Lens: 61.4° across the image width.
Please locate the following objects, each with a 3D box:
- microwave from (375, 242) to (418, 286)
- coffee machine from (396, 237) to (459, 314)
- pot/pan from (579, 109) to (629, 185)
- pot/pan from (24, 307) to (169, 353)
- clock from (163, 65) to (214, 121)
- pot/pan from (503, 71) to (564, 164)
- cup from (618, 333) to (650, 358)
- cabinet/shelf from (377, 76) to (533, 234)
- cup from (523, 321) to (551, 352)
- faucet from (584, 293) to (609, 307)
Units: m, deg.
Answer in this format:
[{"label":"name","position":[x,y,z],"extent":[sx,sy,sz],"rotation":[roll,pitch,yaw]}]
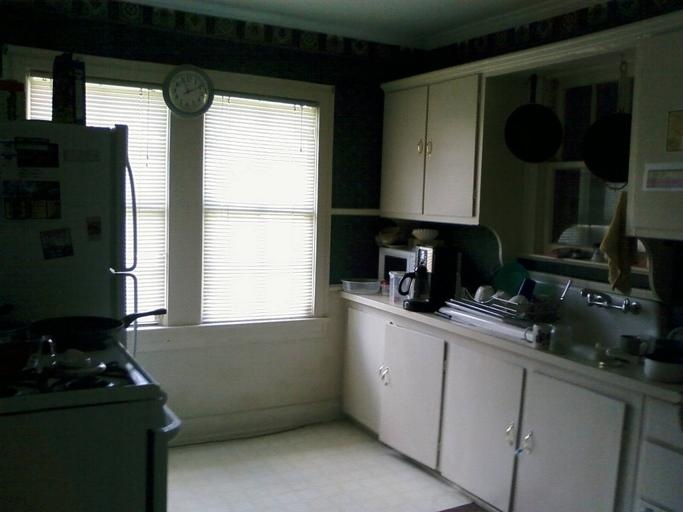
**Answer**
[{"label":"microwave","position":[0.425,0.034,4.379],"extent":[0.245,0.346,0.358],"rotation":[2,-1,-36]},{"label":"coffee machine","position":[0.599,0.155,3.846],"extent":[0.468,0.577,0.350],"rotation":[3,2,-9]},{"label":"pot/pan","position":[1.482,-0.610,3.240],"extent":[0.279,0.399,0.140],"rotation":[9,13,34]},{"label":"pot/pan","position":[-1.201,0.348,2.723],"extent":[0.378,0.124,0.239],"rotation":[1,0,-12]},{"label":"clock","position":[-1.027,-1.107,3.864],"extent":[0.338,0.336,0.054],"rotation":[-3,16,-31]},{"label":"pot/pan","position":[1.201,-0.854,3.587],"extent":[0.108,0.541,0.355],"rotation":[-8,14,-43]},{"label":"cup","position":[1.535,0.473,3.020],"extent":[0.173,0.123,0.106],"rotation":[1,-2,-1]},{"label":"cabinet/shelf","position":[0.759,-0.749,4.186],"extent":[0.426,1.025,1.142],"rotation":[-3,11,-27]},{"label":"cup","position":[1.068,0.433,3.162],"extent":[0.142,0.121,0.091],"rotation":[1,3,33]},{"label":"faucet","position":[1.453,0.256,3.266],"extent":[0.097,0.054,0.054],"rotation":[0,7,9]}]
